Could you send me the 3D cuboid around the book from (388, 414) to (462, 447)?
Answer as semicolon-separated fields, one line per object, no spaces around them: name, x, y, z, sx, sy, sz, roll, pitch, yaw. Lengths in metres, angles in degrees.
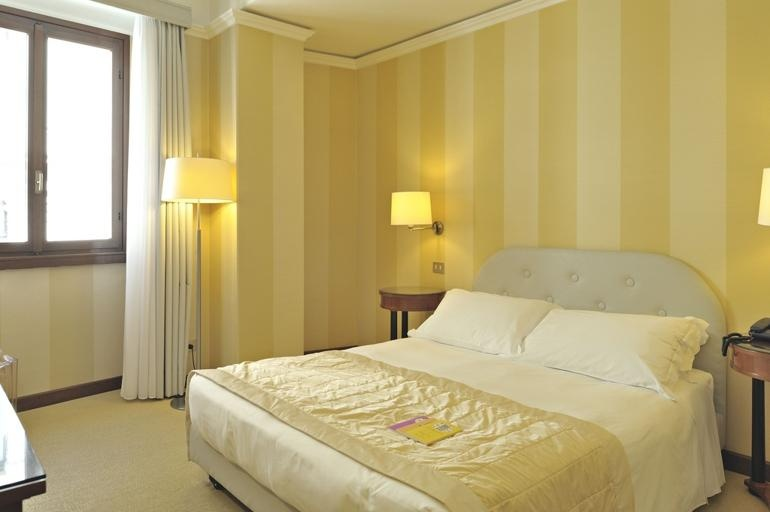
book;0.228;0.972;3.060;0.323;0.030;0.287;-9;15;-36

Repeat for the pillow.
pillow;1.290;0.612;4.009;1.486;0.290;0.631;-23;-3;14

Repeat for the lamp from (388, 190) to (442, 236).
lamp;0.330;-0.397;5.394;0.644;0.463;0.419;-3;6;-38
